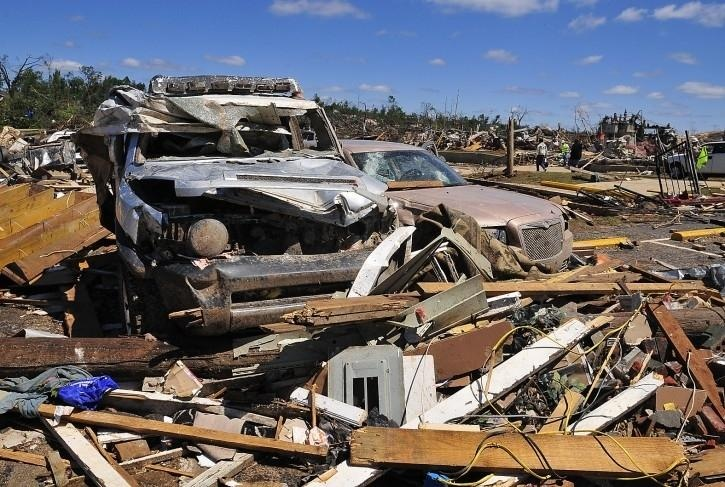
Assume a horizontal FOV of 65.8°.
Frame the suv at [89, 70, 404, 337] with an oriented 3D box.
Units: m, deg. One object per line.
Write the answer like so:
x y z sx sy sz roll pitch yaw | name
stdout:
-1.834 -1.309 7.120 2.965 1.612 4.304 -10 36 -26 | suv
